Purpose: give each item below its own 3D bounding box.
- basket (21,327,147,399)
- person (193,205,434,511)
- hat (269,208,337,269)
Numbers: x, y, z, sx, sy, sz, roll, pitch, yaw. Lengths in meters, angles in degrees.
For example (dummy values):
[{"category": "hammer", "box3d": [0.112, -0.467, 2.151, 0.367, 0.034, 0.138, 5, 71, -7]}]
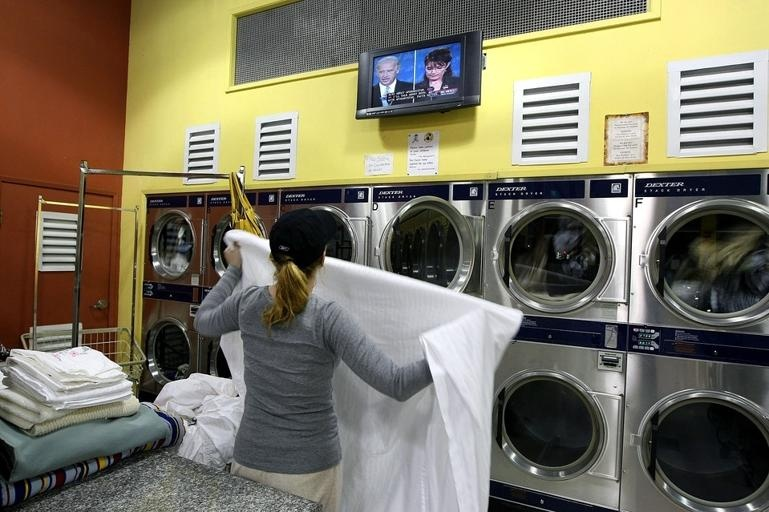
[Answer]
[{"category": "basket", "box3d": [-2.068, 0.723, 3.854, 0.862, 0.659, 0.469, 0, -2, -28]}, {"category": "person", "box3d": [-0.376, 0.626, 3.221, 1.382, 2.235, 0.684, 7, 13, 18]}, {"category": "hat", "box3d": [-0.418, -0.122, 3.033, 0.254, 0.367, 0.197, 10, -31, 25]}]
